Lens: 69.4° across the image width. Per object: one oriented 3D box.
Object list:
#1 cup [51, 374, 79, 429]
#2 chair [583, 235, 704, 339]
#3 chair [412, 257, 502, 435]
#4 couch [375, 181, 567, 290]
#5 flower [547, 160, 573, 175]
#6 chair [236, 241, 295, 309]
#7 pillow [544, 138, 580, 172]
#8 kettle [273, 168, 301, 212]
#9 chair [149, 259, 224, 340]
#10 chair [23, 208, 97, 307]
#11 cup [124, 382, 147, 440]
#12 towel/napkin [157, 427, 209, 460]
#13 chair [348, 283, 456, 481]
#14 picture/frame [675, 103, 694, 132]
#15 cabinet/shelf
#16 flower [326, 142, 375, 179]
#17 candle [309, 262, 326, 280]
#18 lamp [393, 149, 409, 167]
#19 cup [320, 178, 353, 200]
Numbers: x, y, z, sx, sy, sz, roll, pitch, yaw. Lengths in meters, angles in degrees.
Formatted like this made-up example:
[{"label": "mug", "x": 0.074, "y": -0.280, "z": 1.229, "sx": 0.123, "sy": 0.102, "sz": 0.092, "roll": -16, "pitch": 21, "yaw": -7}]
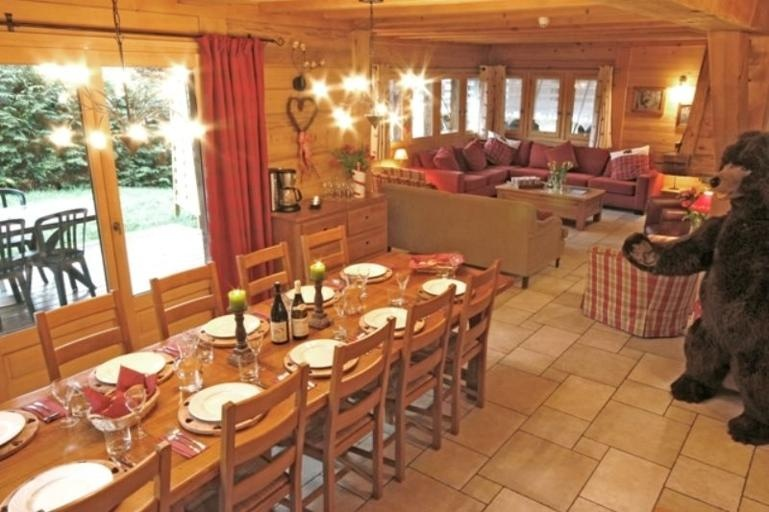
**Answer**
[{"label": "cup", "x": -1.925, "y": 0.892, "z": 3.317, "sx": 0.156, "sy": 0.269, "sz": 0.146, "roll": 1, "pitch": 11, "yaw": 0}, {"label": "chair", "x": 2.844, "y": 0.280, "z": 6.079, "sx": 1.130, "sy": 0.894, "sz": 1.076, "roll": -4, "pitch": 25, "yaw": 1}, {"label": "chair", "x": 0.463, "y": 0.720, "z": 4.721, "sx": 0.918, "sy": 1.337, "sz": 0.867, "roll": 3, "pitch": 11, "yaw": 18}, {"label": "couch", "x": 1.102, "y": -0.452, "z": 7.613, "sx": 2.464, "sy": 1.103, "sz": 1.211, "roll": 13, "pitch": 24, "yaw": 35}, {"label": "flower", "x": 3.035, "y": -1.517, "z": 9.550, "sx": 0.462, "sy": 0.209, "sz": 0.465, "roll": 4, "pitch": 10, "yaw": 36}, {"label": "chair", "x": -1.061, "y": 0.151, "z": 4.898, "sx": 0.434, "sy": 0.735, "sz": 0.421, "roll": -22, "pitch": 32, "yaw": -39}, {"label": "pillow", "x": 3.284, "y": -1.857, "z": 10.245, "sx": 0.771, "sy": 0.710, "sz": 0.239, "roll": 1, "pitch": -5, "yaw": 36}, {"label": "kettle", "x": -1.153, "y": -0.738, "z": 6.287, "sx": 0.362, "sy": 0.445, "sz": 0.294, "roll": 1, "pitch": 15, "yaw": -2}, {"label": "chair", "x": -1.589, "y": 0.545, "z": 4.459, "sx": 0.543, "sy": 0.907, "sz": 0.507, "roll": -6, "pitch": 64, "yaw": -21}, {"label": "chair", "x": -3.010, "y": 0.011, "z": 5.079, "sx": 0.588, "sy": 0.808, "sz": 0.587, "roll": -10, "pitch": 12, "yaw": -24}, {"label": "cup", "x": -1.425, "y": 0.872, "z": 3.186, "sx": 0.112, "sy": 0.287, "sz": 0.233, "roll": -13, "pitch": 22, "yaw": -26}, {"label": "towel/napkin", "x": -1.123, "y": 1.061, "z": 3.111, "sx": 0.226, "sy": 0.026, "sz": 0.180, "roll": 20, "pitch": 32, "yaw": 28}, {"label": "chair", "x": 0.067, "y": 0.904, "z": 4.295, "sx": 0.831, "sy": 1.305, "sz": 0.824, "roll": 4, "pitch": 12, "yaw": 17}, {"label": "picture/frame", "x": 5.313, "y": -2.442, "z": 9.820, "sx": 0.146, "sy": 0.450, "sz": 0.296, "roll": -6, "pitch": 20, "yaw": -8}, {"label": "cabinet/shelf", "x": -0.611, "y": -0.191, "z": 6.691, "sx": 0.506, "sy": 0.862, "sz": 1.506, "roll": 16, "pitch": 25, "yaw": 36}, {"label": "flower", "x": -0.410, "y": -1.238, "z": 7.078, "sx": 0.429, "sy": 0.393, "sz": 0.453, "roll": 9, "pitch": 23, "yaw": 23}, {"label": "candle", "x": -0.485, "y": 0.105, "z": 4.039, "sx": 0.127, "sy": 0.136, "sz": 0.125, "roll": 3, "pitch": 6, "yaw": 23}, {"label": "lamp", "x": 0.280, "y": -1.704, "z": 9.654, "sx": 0.317, "sy": 0.353, "sz": 0.303, "roll": -6, "pitch": 31, "yaw": 1}, {"label": "cup", "x": -0.583, "y": -0.787, "z": 6.704, "sx": 0.315, "sy": 0.131, "sz": 0.309, "roll": 1, "pitch": 14, "yaw": 0}]
